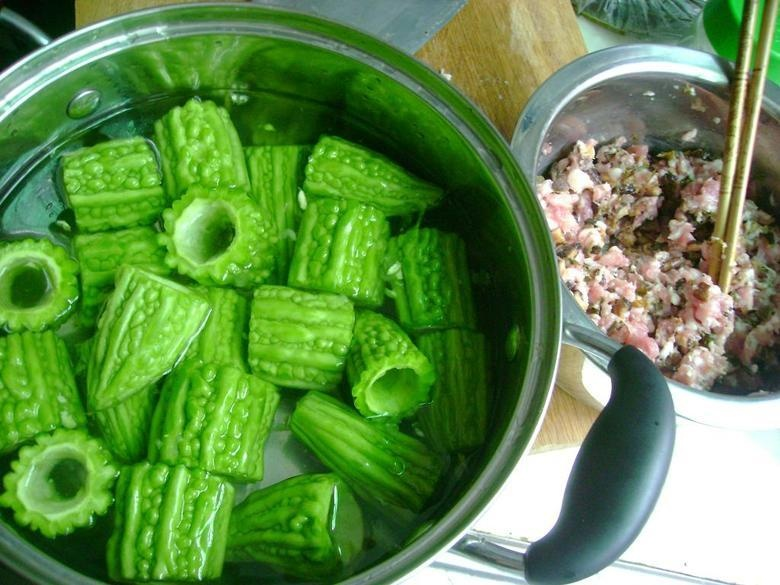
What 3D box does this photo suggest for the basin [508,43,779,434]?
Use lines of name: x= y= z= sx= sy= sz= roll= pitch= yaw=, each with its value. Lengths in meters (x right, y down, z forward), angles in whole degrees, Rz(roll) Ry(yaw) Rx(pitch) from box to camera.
basin: x=0.472 y=-0.106 z=1.442 sx=0.591 sy=0.237 sz=0.684 roll=-8 pitch=85 yaw=-4

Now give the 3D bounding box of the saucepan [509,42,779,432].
saucepan: x=0.460 y=-0.071 z=1.419 sx=0.590 sy=0.237 sz=0.685 roll=-9 pitch=85 yaw=-3
